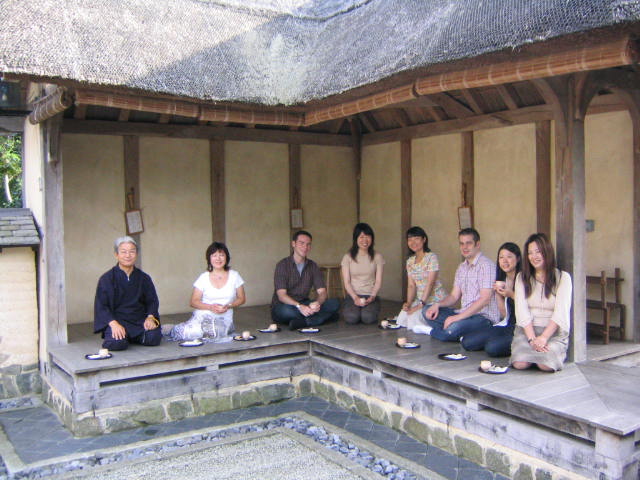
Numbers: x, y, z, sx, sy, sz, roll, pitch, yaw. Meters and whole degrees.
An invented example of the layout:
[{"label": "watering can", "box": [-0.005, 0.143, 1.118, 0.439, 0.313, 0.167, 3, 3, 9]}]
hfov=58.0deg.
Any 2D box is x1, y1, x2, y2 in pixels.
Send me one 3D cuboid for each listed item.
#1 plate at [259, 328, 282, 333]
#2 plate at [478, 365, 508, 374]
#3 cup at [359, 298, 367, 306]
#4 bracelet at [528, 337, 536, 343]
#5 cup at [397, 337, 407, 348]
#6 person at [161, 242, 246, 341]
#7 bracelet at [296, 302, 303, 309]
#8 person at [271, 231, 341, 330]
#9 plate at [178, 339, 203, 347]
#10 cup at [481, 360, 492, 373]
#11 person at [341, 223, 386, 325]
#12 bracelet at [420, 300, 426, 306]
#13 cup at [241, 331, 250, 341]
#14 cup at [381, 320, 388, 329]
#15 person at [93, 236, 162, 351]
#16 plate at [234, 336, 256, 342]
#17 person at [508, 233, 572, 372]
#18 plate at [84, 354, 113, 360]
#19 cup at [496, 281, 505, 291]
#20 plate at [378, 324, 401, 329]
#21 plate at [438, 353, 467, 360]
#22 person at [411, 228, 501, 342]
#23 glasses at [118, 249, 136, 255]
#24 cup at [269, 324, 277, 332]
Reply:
[{"label": "plate", "box": [-0.580, 1.038, 6.619, 0.245, 0.035, 0.220, -3, 3, -6]}, {"label": "plate", "box": [1.510, 1.121, 5.036, 0.149, 0.051, 0.112, -3, 2, 4]}, {"label": "cup", "box": [0.522, 0.770, 7.133, 0.096, 0.094, 0.116, -3, 3, -8]}, {"label": "bracelet", "box": [1.875, 0.885, 5.116, 0.053, 0.019, 0.052, -8, 3, 13]}, {"label": "cup", "box": [0.833, 1.050, 5.920, 0.090, 0.068, 0.090, 1, 1, 0]}, {"label": "person", "box": [-1.255, 0.559, 6.324, 0.816, 1.038, 0.489, -4, 3, -14]}, {"label": "bracelet", "box": [-0.260, 0.785, 6.930, 0.047, 0.025, 0.068, 3, 21, 6]}, {"label": "person", "box": [-0.206, 0.466, 7.007, 0.828, 1.143, 0.644, -3, 3, -5]}, {"label": "plate", "box": [-1.359, 1.082, 6.094, 0.274, 0.034, 0.298, -3, 3, 2]}, {"label": "cup", "box": [1.454, 1.113, 5.064, 0.087, 0.076, 0.087, -1, 6, 0]}, {"label": "person", "box": [0.494, 0.407, 7.199, 0.543, 1.228, 0.470, -2, 3, 11]}, {"label": "bracelet", "box": [1.187, 0.735, 6.729, 0.056, 0.043, 0.063, 3, -22, 7]}, {"label": "cup", "box": [-0.805, 1.037, 6.215, 0.085, 0.077, 0.069, -3, 5, -9]}, {"label": "cup", "box": [0.749, 1.009, 6.891, 0.078, 0.073, 0.077, 0, 7, 0]}, {"label": "person", "box": [-2.041, 0.545, 6.044, 0.657, 1.149, 0.402, -4, 3, -22]}, {"label": "plate", "box": [-0.819, 1.062, 6.214, 0.256, 0.036, 0.194, -3, 3, 0]}, {"label": "person", "box": [1.941, 0.547, 5.122, 0.515, 1.205, 0.323, -2, 3, 24]}, {"label": "plate", "box": [-2.165, 1.136, 5.628, 0.256, 0.026, 0.155, -4, 3, -16]}, {"label": "cup", "box": [1.776, 0.456, 5.684, 0.091, 0.101, 0.091, -1, 7, 0]}, {"label": "plate", "box": [0.829, 1.033, 6.862, 0.255, 0.024, 0.191, -3, 3, -2]}, {"label": "plate", "box": [1.259, 1.103, 5.516, 0.271, 0.033, 0.297, -2, 3, 10]}, {"label": "person", "box": [1.471, 0.469, 6.210, 0.835, 1.167, 0.872, -5, 6, -44]}, {"label": "glasses", "box": [-1.984, 0.131, 5.935, 0.175, 0.063, 0.090, -4, 3, -26]}, {"label": "cup", "box": [-0.539, 1.003, 6.610, 0.078, 0.060, 0.079, -3, 2, 0]}]
